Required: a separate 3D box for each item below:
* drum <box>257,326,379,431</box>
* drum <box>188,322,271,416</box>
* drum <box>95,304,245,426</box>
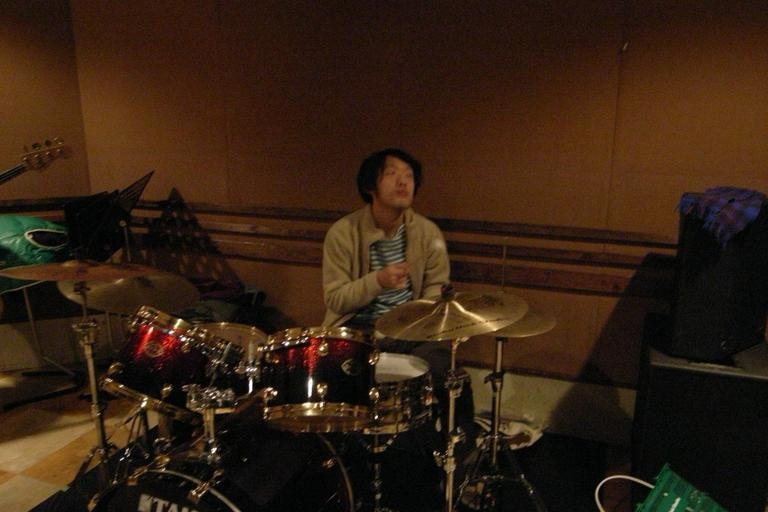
[{"bbox_3d":[-0.284,0.591,2.947,0.522,0.355,0.519,0,-24,0],"label":"drum"},{"bbox_3d":[-0.765,0.619,3.281,0.452,0.455,0.455,-8,-28,21],"label":"drum"},{"bbox_3d":[-1.049,0.575,3.091,0.684,0.543,0.216,2,16,9],"label":"drum"}]
